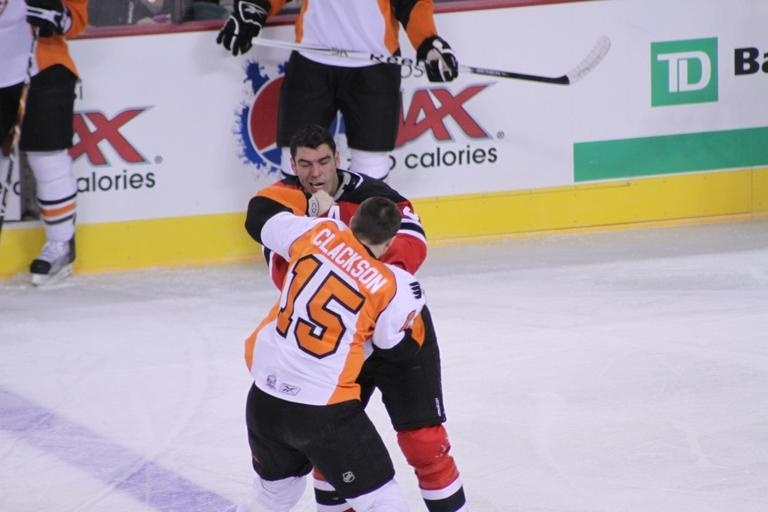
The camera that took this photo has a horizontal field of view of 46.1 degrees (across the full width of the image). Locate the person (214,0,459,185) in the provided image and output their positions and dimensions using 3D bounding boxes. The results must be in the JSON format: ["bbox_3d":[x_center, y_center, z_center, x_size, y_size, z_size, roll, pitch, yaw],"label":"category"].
[{"bbox_3d":[-0.369,-1.066,5.749,1.195,1.855,0.626,7,16,-1],"label":"person"}]
